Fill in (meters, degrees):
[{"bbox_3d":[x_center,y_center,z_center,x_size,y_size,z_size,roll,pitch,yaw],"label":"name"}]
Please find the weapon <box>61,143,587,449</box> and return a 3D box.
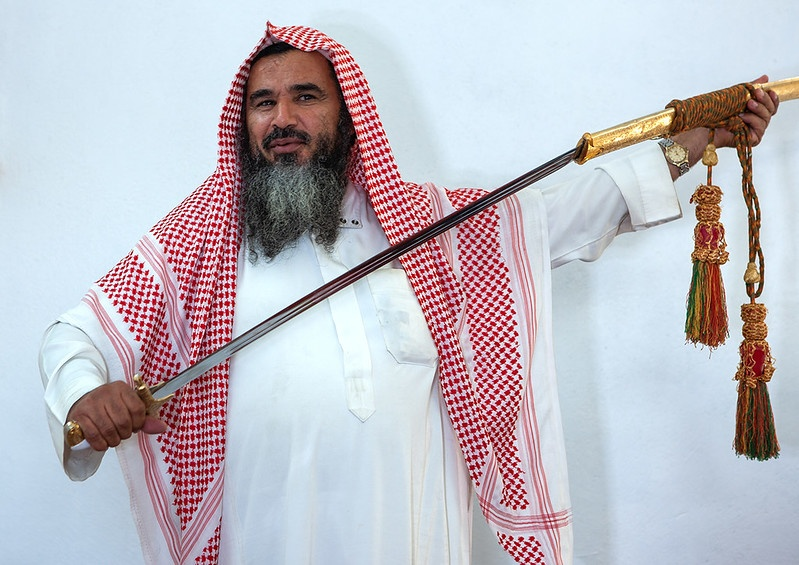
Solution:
[{"bbox_3d":[-0.248,0.086,4.379,2.065,0.313,0.233,-30,22,-10],"label":"weapon"}]
